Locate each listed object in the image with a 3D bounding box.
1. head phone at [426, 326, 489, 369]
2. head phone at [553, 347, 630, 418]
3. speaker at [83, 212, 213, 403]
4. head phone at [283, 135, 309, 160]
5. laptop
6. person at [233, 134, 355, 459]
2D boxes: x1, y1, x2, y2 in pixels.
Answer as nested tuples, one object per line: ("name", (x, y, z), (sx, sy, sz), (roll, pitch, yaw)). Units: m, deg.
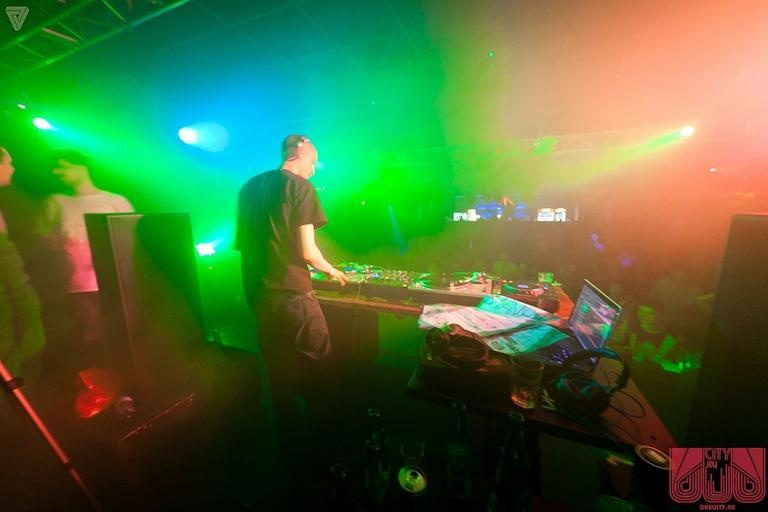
("head phone", (0.504, 0.628, 3.580), (0.410, 0.263, 0.124), (-1, 3, 7))
("head phone", (1.390, 0.868, 3.515), (0.383, 0.179, 0.449), (13, 49, 22))
("speaker", (-1.975, 0.432, 4.395), (0.867, 1.592, 0.415), (-3, 3, -21))
("head phone", (-0.761, -0.934, 4.464), (0.232, 0.215, 0.163), (3, -2, -1))
("laptop", (1.455, 0.531, 3.817), (0.509, 0.454, 0.583), (-33, 11, -9))
("person", (-0.793, 0.296, 4.420), (0.851, 2.642, 0.355), (-2, 3, -7))
